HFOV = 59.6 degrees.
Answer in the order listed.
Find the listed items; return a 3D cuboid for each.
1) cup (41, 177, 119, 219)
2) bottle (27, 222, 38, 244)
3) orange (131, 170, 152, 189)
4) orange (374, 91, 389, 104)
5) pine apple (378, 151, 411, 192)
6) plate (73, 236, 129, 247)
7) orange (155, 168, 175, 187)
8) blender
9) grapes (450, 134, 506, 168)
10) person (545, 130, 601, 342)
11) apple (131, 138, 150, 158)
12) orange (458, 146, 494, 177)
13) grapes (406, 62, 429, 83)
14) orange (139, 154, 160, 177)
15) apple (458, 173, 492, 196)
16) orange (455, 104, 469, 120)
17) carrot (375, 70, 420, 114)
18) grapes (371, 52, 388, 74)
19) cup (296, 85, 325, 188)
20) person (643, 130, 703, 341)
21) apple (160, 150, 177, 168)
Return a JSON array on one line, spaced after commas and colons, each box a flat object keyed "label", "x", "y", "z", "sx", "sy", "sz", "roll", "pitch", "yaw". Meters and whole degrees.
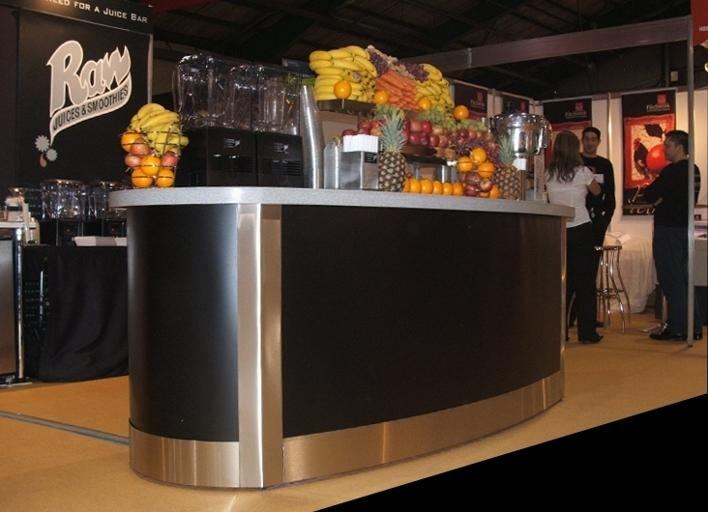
[{"label": "cup", "x": -2.244, "y": -0.462, "z": 5.084, "sx": 0.433, "sy": 0.239, "sz": 0.245, "roll": 0, "pitch": 1, "yaw": -18}, {"label": "bottle", "x": -2.395, "y": -0.173, "z": 4.654, "sx": 0.047, "sy": 0.166, "sz": 0.145, "roll": -2, "pitch": 6, "yaw": -9}, {"label": "orange", "x": -1.063, "y": -0.411, "z": 3.142, "sx": 0.106, "sy": 0.135, "sz": 0.112, "roll": 1, "pitch": -14, "yaw": -21}, {"label": "orange", "x": 0.172, "y": -0.985, "z": 3.838, "sx": 0.077, "sy": 0.095, "sz": 0.080, "roll": 5, "pitch": 9, "yaw": 17}, {"label": "pine apple", "x": 0.212, "y": -0.462, "z": 3.349, "sx": 0.149, "sy": 0.217, "sz": 0.311, "roll": 0, "pitch": 6, "yaw": 5}, {"label": "plate", "x": -1.984, "y": -0.117, "z": 4.911, "sx": 0.379, "sy": 0.086, "sz": 0.358, "roll": -4, "pitch": 7, "yaw": -30}, {"label": "orange", "x": -0.924, "y": -0.387, "z": 3.062, "sx": 0.087, "sy": 0.110, "sz": 0.089, "roll": 6, "pitch": -11, "yaw": -16}, {"label": "blender", "x": 1.114, "y": -0.700, "z": 4.372, "sx": 0.390, "sy": 0.634, "sz": 0.390, "roll": 8, "pitch": 18, "yaw": 28}, {"label": "grapes", "x": 0.829, "y": -0.713, "z": 4.162, "sx": 0.258, "sy": 0.115, "sz": 0.204, "roll": -4, "pitch": 18, "yaw": -16}, {"label": "person", "x": 2.186, "y": -0.188, "z": 6.167, "sx": 0.542, "sy": 2.108, "sz": 0.307, "roll": 1, "pitch": 6, "yaw": 21}, {"label": "apple", "x": -1.053, "y": -0.534, "z": 3.082, "sx": 0.076, "sy": 0.082, "sz": 0.079, "roll": -5, "pitch": -4, "yaw": 9}, {"label": "orange", "x": 0.785, "y": -0.599, "z": 3.939, "sx": 0.199, "sy": 0.211, "sz": 0.092, "roll": 4, "pitch": -19, "yaw": 24}, {"label": "grapes", "x": 0.414, "y": -1.215, "z": 4.070, "sx": 0.126, "sy": 0.129, "sz": 0.042, "roll": -34, "pitch": 10, "yaw": -39}, {"label": "orange", "x": -0.991, "y": -0.445, "z": 3.053, "sx": 0.089, "sy": 0.111, "sz": 0.092, "roll": 0, "pitch": 0, "yaw": 22}, {"label": "apple", "x": 0.763, "y": -0.443, "z": 3.888, "sx": 0.185, "sy": 0.091, "sz": 0.142, "roll": -3, "pitch": 4, "yaw": -40}, {"label": "orange", "x": 0.742, "y": -1.008, "z": 4.271, "sx": 0.092, "sy": 0.098, "sz": 0.092, "roll": 2, "pitch": -10, "yaw": 1}, {"label": "carrot", "x": 0.295, "y": -1.052, "z": 3.964, "sx": 0.290, "sy": 0.187, "sz": 0.090, "roll": 22, "pitch": -15, "yaw": -23}, {"label": "grapes", "x": 0.168, "y": -1.215, "z": 3.913, "sx": 0.090, "sy": 0.132, "sz": 0.039, "roll": -41, "pitch": 25, "yaw": -24}, {"label": "cup", "x": -0.222, "y": -0.655, "z": 3.328, "sx": 0.130, "sy": 0.570, "sz": 0.266, "roll": -1, "pitch": 6, "yaw": -5}, {"label": "person", "x": 3.205, "y": -0.218, "z": 6.377, "sx": 0.384, "sy": 2.134, "sz": 0.436, "roll": 1, "pitch": 6, "yaw": 18}, {"label": "apple", "x": -0.899, "y": -0.474, "z": 3.048, "sx": 0.073, "sy": 0.093, "sz": 0.074, "roll": 6, "pitch": -10, "yaw": -34}]
